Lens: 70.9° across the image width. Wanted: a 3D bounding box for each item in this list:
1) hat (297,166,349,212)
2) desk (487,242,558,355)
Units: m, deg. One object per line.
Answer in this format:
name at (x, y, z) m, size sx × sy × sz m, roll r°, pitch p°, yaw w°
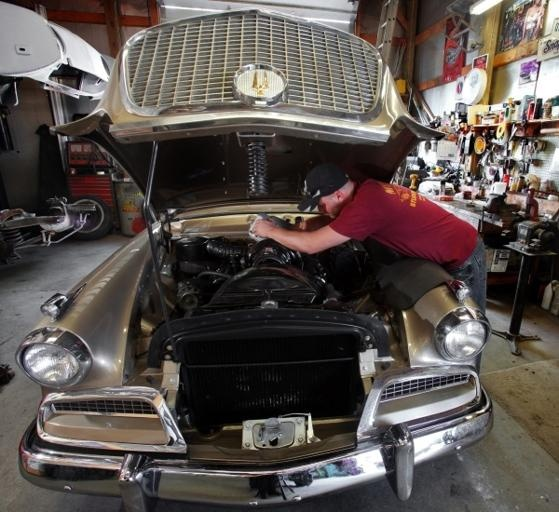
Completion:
hat at (0.195, -0.321, 1.822) m, size 0.251 × 0.132 × 0.171 m, roll -29°, pitch 29°, yaw 22°
desk at (1.755, 0.277, 2.802) m, size 0.341 × 0.731 × 0.491 m, roll 10°, pitch 18°, yaw 28°
